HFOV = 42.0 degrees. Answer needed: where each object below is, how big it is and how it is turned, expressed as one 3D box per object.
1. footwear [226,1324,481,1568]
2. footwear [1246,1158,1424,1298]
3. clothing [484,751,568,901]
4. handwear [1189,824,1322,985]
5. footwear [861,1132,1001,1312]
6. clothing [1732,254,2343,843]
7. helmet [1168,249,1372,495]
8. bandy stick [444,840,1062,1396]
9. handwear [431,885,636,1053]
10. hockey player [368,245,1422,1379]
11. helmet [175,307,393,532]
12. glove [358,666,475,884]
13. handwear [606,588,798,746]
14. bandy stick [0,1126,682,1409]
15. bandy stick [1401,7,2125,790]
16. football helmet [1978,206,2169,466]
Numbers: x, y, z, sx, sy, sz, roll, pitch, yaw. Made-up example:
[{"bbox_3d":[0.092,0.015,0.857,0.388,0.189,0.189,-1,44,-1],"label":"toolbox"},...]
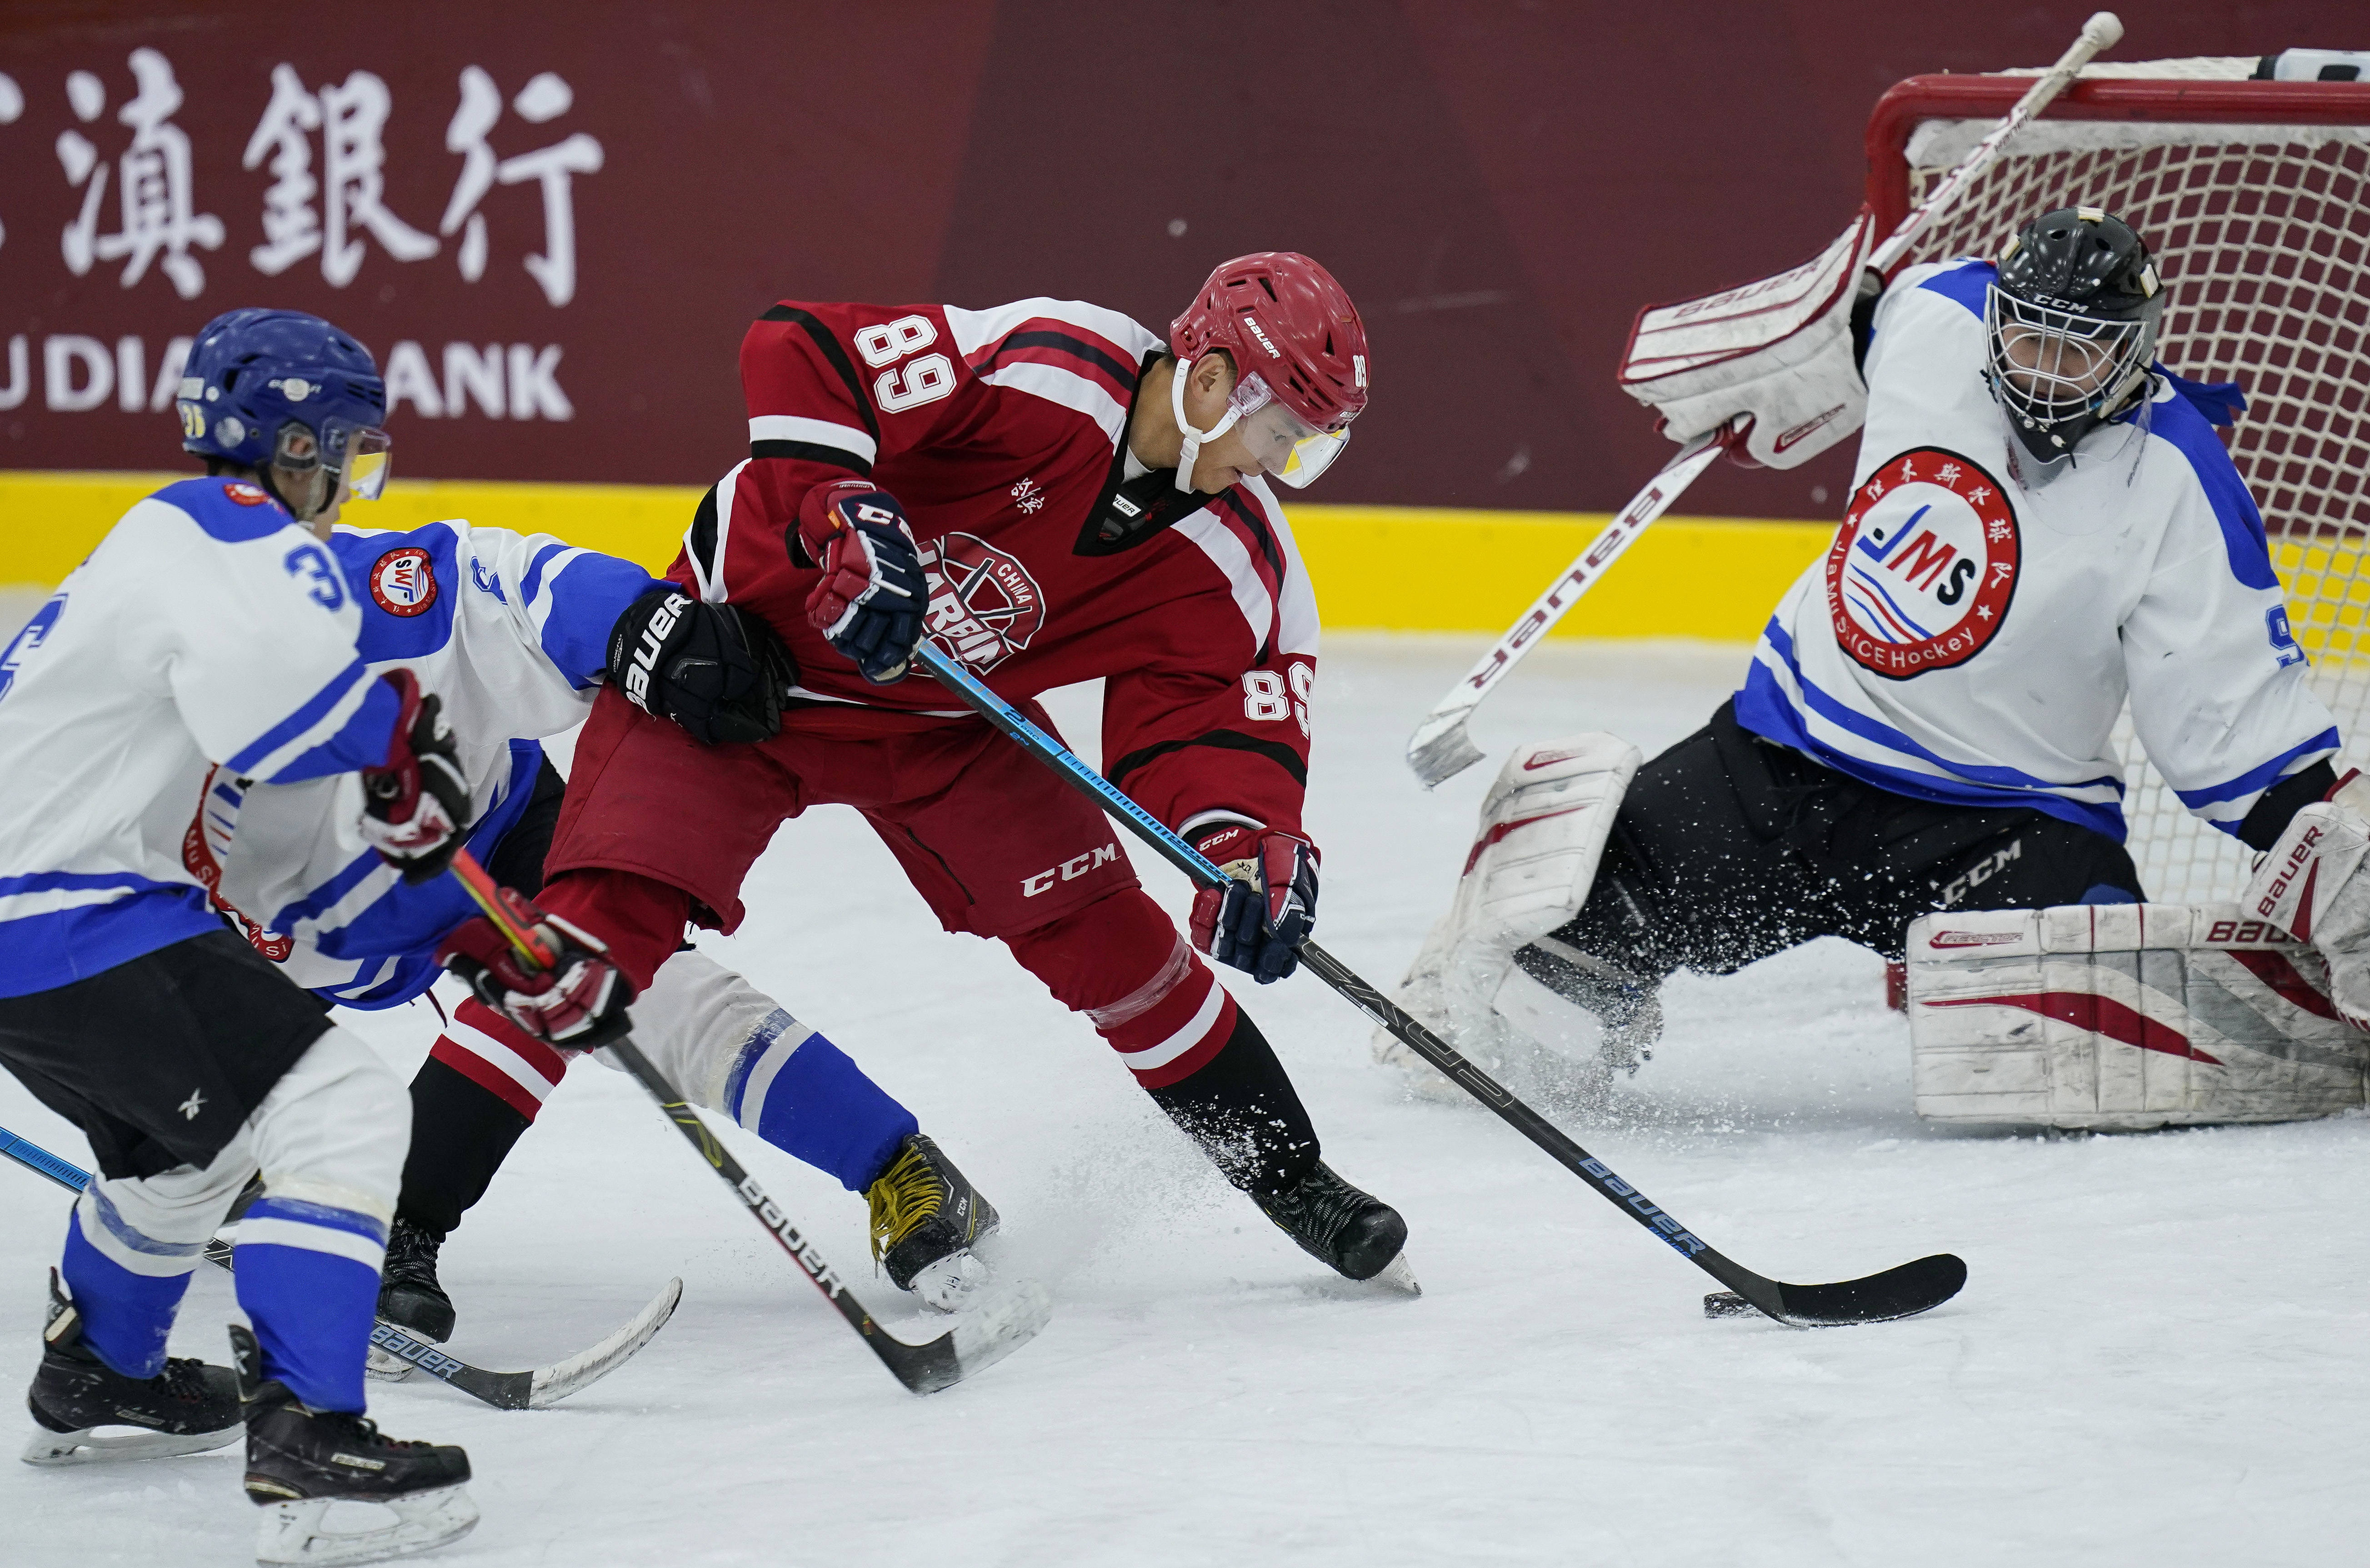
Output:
[{"bbox_3d":[-0.976,0.763,3.516,0.308,0.223,0.136,4,11,15],"label":"footwear"},{"bbox_3d":[0.212,0.590,4.162,0.137,0.091,0.274,40,-1,-42],"label":"footwear"},{"bbox_3d":[-0.881,0.064,4.117,0.065,0.052,0.207,42,29,0],"label":"clothing"},{"bbox_3d":[0.084,0.128,4.144,0.187,0.091,0.195,28,27,-26],"label":"handwear"},{"bbox_3d":[-0.361,0.576,4.196,0.142,0.104,0.306,33,11,-29],"label":"footwear"},{"bbox_3d":[1.314,-0.345,4.699,0.990,0.535,0.459,39,33,30],"label":"clothing"},{"bbox_3d":[0.111,-0.544,4.076,0.249,0.302,0.156,0,11,-5],"label":"helmet"},{"bbox_3d":[-0.590,0.480,4.179,0.923,0.113,0.144,42,23,24],"label":"bandy stick"},{"bbox_3d":[-0.780,0.237,3.761,0.256,0.148,0.104,43,-15,22],"label":"handwear"},{"bbox_3d":[-0.341,-0.010,4.206,1.424,1.602,0.908,6,13,-17],"label":"hockey player"},{"bbox_3d":[-1.141,-0.455,3.812,0.274,0.270,0.217,-6,20,-39],"label":"helmet"},{"bbox_3d":[-0.903,-0.017,3.668,0.097,0.237,0.145,-8,-14,1],"label":"glove"},{"bbox_3d":[-0.611,-0.152,3.986,0.221,0.169,0.097,30,6,5],"label":"handwear"},{"bbox_3d":[-1.058,0.613,3.816,0.669,0.095,0.075,25,-21,-1],"label":"bandy stick"},{"bbox_3d":[1.103,-0.771,5.772,0.160,2.077,0.266,36,5,-19],"label":"bandy stick"},{"bbox_3d":[1.285,-0.645,4.443,0.238,0.357,0.124,3,11,14],"label":"football helmet"}]
